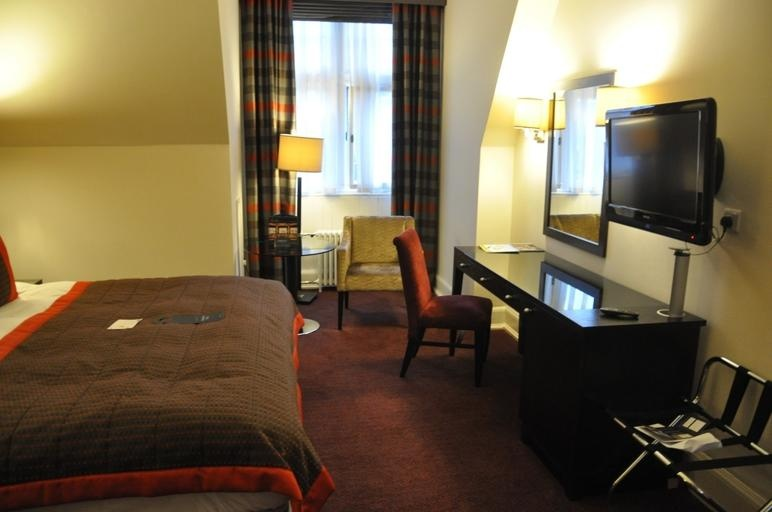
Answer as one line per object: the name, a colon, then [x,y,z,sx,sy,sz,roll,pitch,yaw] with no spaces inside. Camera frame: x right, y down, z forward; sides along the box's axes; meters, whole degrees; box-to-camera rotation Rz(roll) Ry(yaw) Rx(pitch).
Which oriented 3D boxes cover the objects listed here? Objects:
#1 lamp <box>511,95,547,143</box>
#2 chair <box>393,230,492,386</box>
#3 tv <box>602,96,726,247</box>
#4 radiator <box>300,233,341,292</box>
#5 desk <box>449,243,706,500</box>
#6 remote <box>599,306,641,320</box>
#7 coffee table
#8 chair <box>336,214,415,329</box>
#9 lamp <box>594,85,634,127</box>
lamp: [1.153,-1.060,4.246,0.249,0.356,0.237,10,20,33]
chair: [0.450,0.357,4.163,0.734,1.021,0.588,3,11,16]
tv: [1.614,-0.485,3.068,0.304,0.732,0.775,-10,16,-15]
radiator: [-0.775,0.081,5.666,0.580,0.591,0.149,0,9,11]
desk: [1.314,0.759,4.050,0.883,1.139,2.240,-1,6,-6]
remote: [1.294,0.311,3.006,0.205,0.036,0.188,6,17,24]
coffee table: [-0.826,0.053,5.006,0.677,0.670,0.694,1,-3,41]
chair: [-0.102,0.122,5.145,0.824,0.876,0.776,-1,9,-16]
lamp: [1.428,-0.967,3.510,0.254,0.238,0.241,-1,-7,0]
